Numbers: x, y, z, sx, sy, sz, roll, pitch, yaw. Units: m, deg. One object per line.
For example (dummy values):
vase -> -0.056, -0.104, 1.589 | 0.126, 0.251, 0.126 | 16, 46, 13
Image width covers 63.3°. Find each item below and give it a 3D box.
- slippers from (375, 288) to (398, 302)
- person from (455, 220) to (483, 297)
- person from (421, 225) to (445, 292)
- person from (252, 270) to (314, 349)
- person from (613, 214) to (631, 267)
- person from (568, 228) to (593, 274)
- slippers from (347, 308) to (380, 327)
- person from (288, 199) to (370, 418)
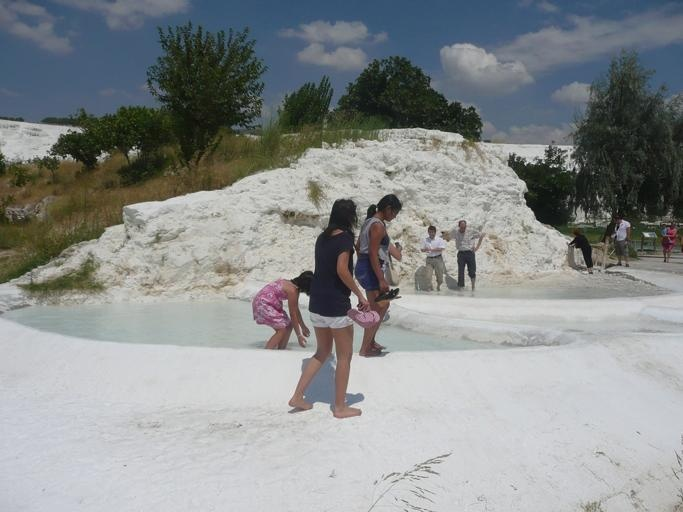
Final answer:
slippers -> 0.481, 0.431, 6.158 | 0.294, 0.129, 0.114 | -11, -10, 5
person -> 2.709, -0.004, 11.863 | 0.514, 1.508, 0.492 | 0, 0, 13
person -> 1.939, 0.053, 11.846 | 0.444, 1.386, 0.720 | 0, 0, 8
person -> -0.714, 0.734, 6.951 | 0.754, 1.300, 0.435 | 9, 20, 6
person -> 8.590, -0.442, 16.974 | 0.387, 1.505, 2.344 | 0, 0, 26
person -> 6.223, -0.110, 14.462 | 0.577, 1.150, 1.321 | 0, 0, 22
slippers -> 0.197, 0.633, 5.386 | 0.252, 0.175, 0.096 | -13, -24, -26
person -> -0.085, 0.501, 5.486 | 0.937, 2.118, 0.681 | 1, 2, -42
